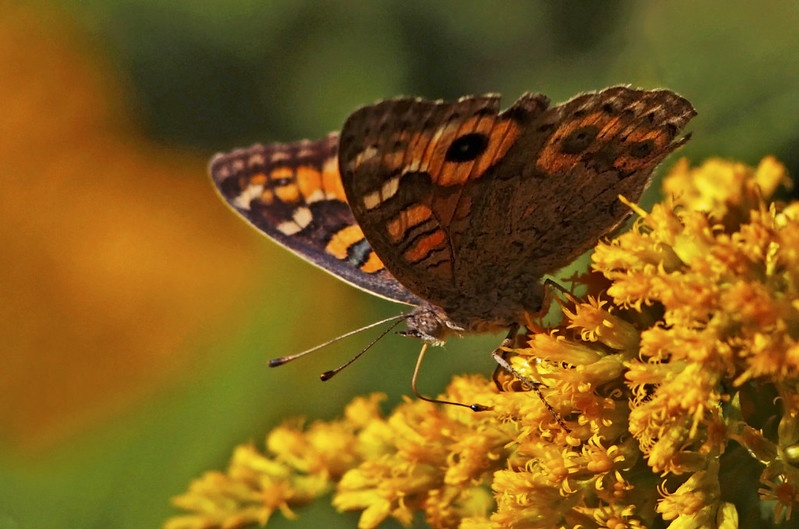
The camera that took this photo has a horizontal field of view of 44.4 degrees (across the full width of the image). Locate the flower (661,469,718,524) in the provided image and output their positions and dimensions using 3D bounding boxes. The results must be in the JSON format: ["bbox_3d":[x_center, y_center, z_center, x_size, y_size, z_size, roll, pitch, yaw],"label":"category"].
[{"bbox_3d":[0.841,0.664,2.849,0.194,0.096,0.071,-41,9,-15],"label":"flower"}]

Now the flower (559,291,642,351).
[{"bbox_3d":[0.610,0.181,2.958,0.176,0.182,0.094,25,65,1],"label":"flower"}]

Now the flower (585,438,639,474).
[{"bbox_3d":[0.591,0.565,2.888,0.147,0.061,0.164,6,9,24],"label":"flower"}]
